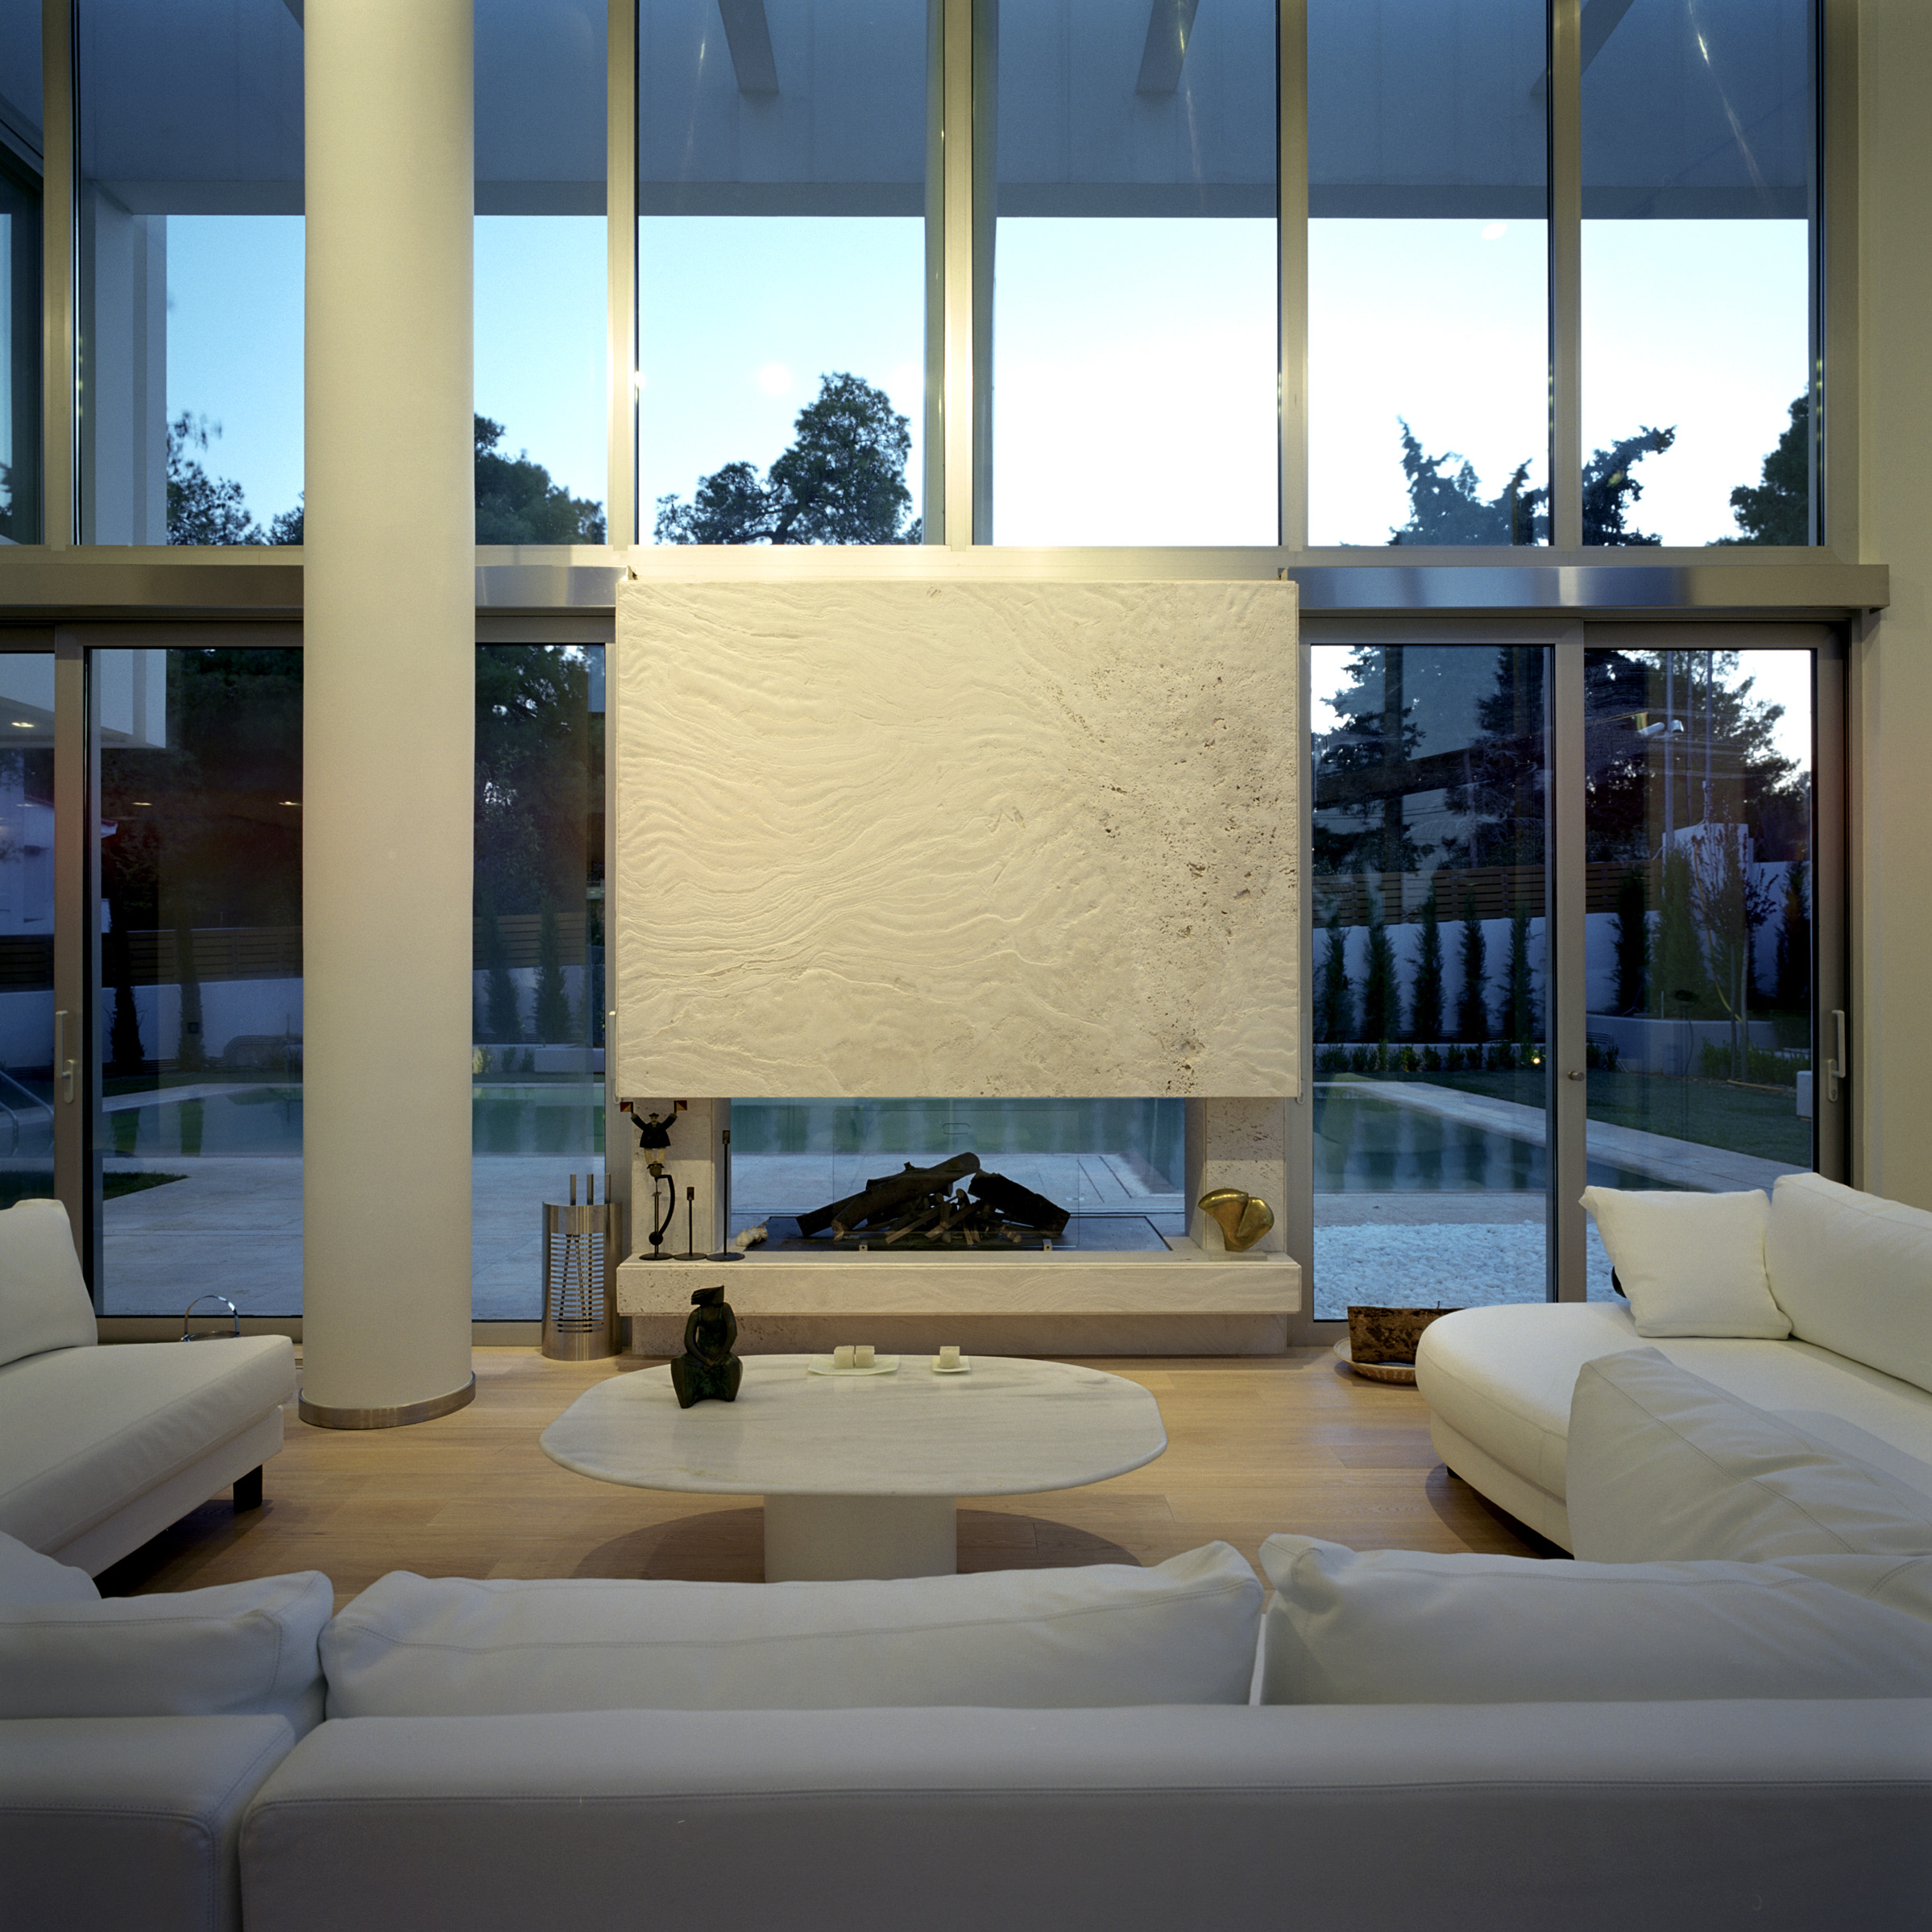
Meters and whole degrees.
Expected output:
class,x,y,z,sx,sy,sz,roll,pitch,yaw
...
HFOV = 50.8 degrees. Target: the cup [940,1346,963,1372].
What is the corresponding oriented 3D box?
class,x,y,z,sx,sy,sz,roll,pitch,yaw
cup,-0.032,0.850,4.403,0.044,0.061,0.087,0,-2,2
